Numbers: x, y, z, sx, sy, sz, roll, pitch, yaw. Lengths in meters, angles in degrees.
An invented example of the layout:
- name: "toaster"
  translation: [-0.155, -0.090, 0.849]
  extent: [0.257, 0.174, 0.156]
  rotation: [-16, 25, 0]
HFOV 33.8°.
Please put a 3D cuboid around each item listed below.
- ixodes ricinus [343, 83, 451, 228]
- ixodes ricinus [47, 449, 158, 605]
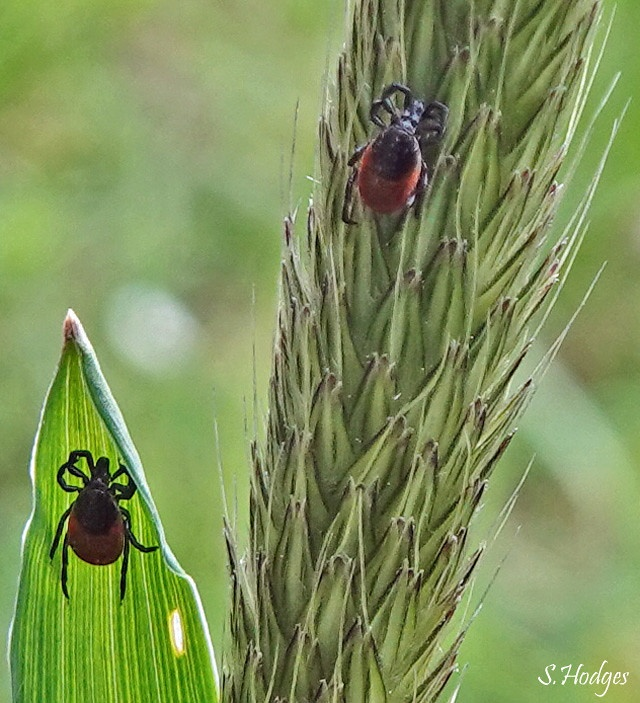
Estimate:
- name: "ixodes ricinus"
  translation: [0.072, -0.198, 1.067]
  extent: [0.095, 0.060, 0.162]
  rotation: [0, -22, -29]
- name: "ixodes ricinus"
  translation: [-0.248, 0.195, 1.181]
  extent: [0.101, 0.175, 0.053]
  rotation: [10, -47, -16]
